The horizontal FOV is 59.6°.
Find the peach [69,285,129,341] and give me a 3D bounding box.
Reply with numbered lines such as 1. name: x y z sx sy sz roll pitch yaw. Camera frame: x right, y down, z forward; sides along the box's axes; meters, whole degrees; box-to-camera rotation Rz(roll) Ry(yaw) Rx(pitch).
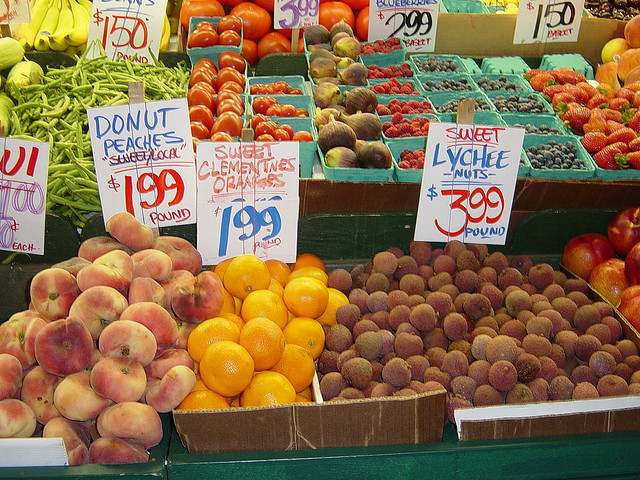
1. peach: -0.880 0.269 2.232 0.180 0.123 0.222 10 62 -3

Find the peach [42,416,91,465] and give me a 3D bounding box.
1. peach: -0.961 0.771 2.156 0.154 0.160 0.118 11 24 25

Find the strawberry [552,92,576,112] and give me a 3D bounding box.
1. strawberry: 1.848 -1.059 4.240 0.130 0.143 0.126 -31 33 -29

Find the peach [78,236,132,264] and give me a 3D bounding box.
1. peach: -0.987 0.033 2.562 0.125 0.076 0.142 8 5 5

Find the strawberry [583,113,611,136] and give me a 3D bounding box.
1. strawberry: 1.935 -0.790 3.938 0.142 0.076 0.161 17 59 -4

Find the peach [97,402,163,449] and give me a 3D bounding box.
1. peach: -0.731 0.707 2.135 0.231 0.180 0.081 1 21 1

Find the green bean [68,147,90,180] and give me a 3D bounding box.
1. green bean: -1.354 -0.419 3.154 0.038 0.198 0.033 -22 8 34

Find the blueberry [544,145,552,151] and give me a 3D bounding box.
1. blueberry: 1.518 -0.604 3.717 0.033 0.026 0.042 1 16 25

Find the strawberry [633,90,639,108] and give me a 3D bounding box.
1. strawberry: 2.370 -1.037 4.184 0.048 0.104 0.132 11 25 27

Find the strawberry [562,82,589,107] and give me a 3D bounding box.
1. strawberry: 1.975 -1.099 4.339 0.215 0.125 0.164 40 34 14

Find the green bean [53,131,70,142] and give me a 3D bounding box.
1. green bean: -1.552 -0.597 3.345 0.075 0.019 0.077 -29 8 0

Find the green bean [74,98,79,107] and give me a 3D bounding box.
1. green bean: -1.529 -0.852 3.511 0.032 0.013 0.055 10 42 -33

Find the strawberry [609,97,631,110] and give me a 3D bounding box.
1. strawberry: 2.228 -1.008 4.168 0.109 0.063 0.117 -2 13 22

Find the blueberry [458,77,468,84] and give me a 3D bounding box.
1. blueberry: 1.161 -1.266 4.515 0.060 0.023 0.070 3 65 -2

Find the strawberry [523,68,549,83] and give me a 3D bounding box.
1. strawberry: 1.793 -1.379 4.647 0.137 0.061 0.118 -20 26 -2

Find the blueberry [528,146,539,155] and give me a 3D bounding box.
1. blueberry: 1.416 -0.584 3.693 0.041 0.036 0.059 0 7 7

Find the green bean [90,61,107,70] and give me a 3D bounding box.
1. green bean: -1.499 -1.174 3.817 0.065 0.026 0.055 -26 15 23

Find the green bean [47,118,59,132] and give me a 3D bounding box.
1. green bean: -1.618 -0.691 3.397 0.033 0.062 0.088 5 23 11

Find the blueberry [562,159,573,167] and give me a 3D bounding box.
1. blueberry: 1.616 -0.493 3.632 0.041 0.032 0.053 5 11 2

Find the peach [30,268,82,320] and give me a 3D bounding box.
1. peach: -1.080 0.197 2.369 0.184 0.210 0.186 14 24 30

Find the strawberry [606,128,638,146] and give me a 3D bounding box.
1. strawberry: 1.982 -0.670 3.675 0.127 0.078 0.134 -18 8 29

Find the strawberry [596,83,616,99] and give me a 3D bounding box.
1. strawberry: 2.274 -1.173 4.429 0.119 0.103 0.168 9 7 26

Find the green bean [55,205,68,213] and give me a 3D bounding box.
1. green bean: -1.468 -0.172 3.186 0.070 0.038 0.032 -3 22 -8

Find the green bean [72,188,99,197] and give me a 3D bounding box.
1. green bean: -1.295 -0.262 3.106 0.150 0.046 0.029 -3 17 -13

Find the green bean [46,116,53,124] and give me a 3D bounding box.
1. green bean: -1.640 -0.719 3.404 0.044 0.049 0.013 -1 -5 -4

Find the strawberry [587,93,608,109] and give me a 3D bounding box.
1. strawberry: 2.099 -1.032 4.213 0.139 0.083 0.239 12 26 25

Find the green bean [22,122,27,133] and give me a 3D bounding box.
1. green bean: -1.814 -0.683 3.450 0.026 0.043 0.092 -9 25 -22

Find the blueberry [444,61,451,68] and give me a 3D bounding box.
1. blueberry: 1.063 -1.446 4.669 0.047 0.043 0.064 -13 26 -29

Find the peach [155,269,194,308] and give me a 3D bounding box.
1. peach: -0.634 0.183 2.466 0.140 0.147 0.144 -29 -8 20

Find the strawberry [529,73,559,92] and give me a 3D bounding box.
1. strawberry: 1.792 -1.269 4.515 0.164 0.097 0.145 0 37 28

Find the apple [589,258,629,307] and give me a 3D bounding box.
1. apple: 1.526 0.213 2.945 0.181 0.235 0.171 -7 23 -19

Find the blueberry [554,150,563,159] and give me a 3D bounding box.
1. blueberry: 1.565 -0.555 3.669 0.045 0.035 0.060 -5 31 -4

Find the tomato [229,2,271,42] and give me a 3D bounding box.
1. tomato: -0.587 -1.878 4.859 0.304 0.338 0.240 26 38 36

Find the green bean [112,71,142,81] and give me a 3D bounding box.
1. green bean: -1.296 -1.087 3.745 0.250 0.036 0.118 17 29 33

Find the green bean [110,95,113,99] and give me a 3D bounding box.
1. green bean: -1.330 -0.901 3.580 0.016 0.017 0.004 2 -3 -2

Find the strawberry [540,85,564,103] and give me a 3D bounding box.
1. strawberry: 1.812 -1.140 4.364 0.154 0.098 0.131 -13 36 8

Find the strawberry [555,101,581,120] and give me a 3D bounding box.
1. strawberry: 1.821 -0.966 4.146 0.149 0.149 0.131 -1 29 28

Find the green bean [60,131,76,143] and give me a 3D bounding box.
1. green bean: -1.491 -0.602 3.324 0.029 0.025 0.108 3 42 45

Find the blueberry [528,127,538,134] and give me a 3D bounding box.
1. blueberry: 1.509 -0.763 3.950 0.095 0.037 0.038 -10 24 -22

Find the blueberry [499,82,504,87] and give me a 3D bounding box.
1. blueberry: 1.462 -1.231 4.477 0.027 0.030 0.013 2 3 -27

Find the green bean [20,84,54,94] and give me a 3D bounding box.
1. green bean: -1.830 -0.961 3.619 0.167 0.040 0.051 -7 59 -19

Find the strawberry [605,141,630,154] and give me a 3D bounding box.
1. strawberry: 1.923 -0.578 3.569 0.082 0.053 0.089 2 2 12

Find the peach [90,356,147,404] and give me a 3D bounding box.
1. peach: -0.770 0.522 2.149 0.172 0.096 0.165 35 18 23

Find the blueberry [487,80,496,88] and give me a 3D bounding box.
1. blueberry: 1.374 -1.231 4.471 0.051 0.031 0.068 0 49 14

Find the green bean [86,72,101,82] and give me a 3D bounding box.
1. green bean: -1.487 -1.063 3.698 0.119 0.051 0.057 16 27 32

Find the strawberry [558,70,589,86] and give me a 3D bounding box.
1. strawberry: 2.035 -1.304 4.485 0.199 0.076 0.117 16 53 6

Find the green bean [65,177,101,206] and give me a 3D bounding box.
1. green bean: -1.301 -0.266 3.092 0.049 0.191 0.034 -23 34 44

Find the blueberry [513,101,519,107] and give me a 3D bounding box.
1. blueberry: 1.486 -1.015 4.222 0.041 0.022 0.050 3 67 24

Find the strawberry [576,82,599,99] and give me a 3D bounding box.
1. strawberry: 2.083 -1.154 4.347 0.126 0.047 0.131 32 14 11

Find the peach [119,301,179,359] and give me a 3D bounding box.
1. peach: -0.669 0.310 2.278 0.209 0.206 0.122 31 74 35

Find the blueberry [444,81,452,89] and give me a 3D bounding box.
1. blueberry: 1.017 -1.192 4.385 0.043 0.050 0.016 -2 -15 -12

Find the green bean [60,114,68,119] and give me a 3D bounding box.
1. green bean: -1.577 -0.753 3.457 0.021 0.013 0.031 1 42 22

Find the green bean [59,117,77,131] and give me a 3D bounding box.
1. green bean: -1.529 -0.692 3.401 0.150 0.027 0.022 44 21 27

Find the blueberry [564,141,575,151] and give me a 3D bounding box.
1. blueberry: 1.694 -0.636 3.793 0.070 0.040 0.077 1 16 0

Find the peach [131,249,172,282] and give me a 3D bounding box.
1. peach: -0.745 0.125 2.502 0.157 0.102 0.165 -13 1 -32

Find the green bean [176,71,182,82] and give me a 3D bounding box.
1. green bean: -1.039 -1.199 4.158 0.025 0.032 0.122 -25 50 -3

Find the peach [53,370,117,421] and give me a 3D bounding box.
1. peach: -0.899 0.599 2.139 0.164 0.140 0.176 21 30 40

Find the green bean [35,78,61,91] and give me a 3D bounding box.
1. green bean: -1.765 -1.000 3.655 0.158 0.040 0.030 -26 64 7

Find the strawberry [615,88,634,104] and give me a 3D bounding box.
1. strawberry: 2.333 -1.106 4.312 0.117 0.123 0.090 -11 -11 -27
